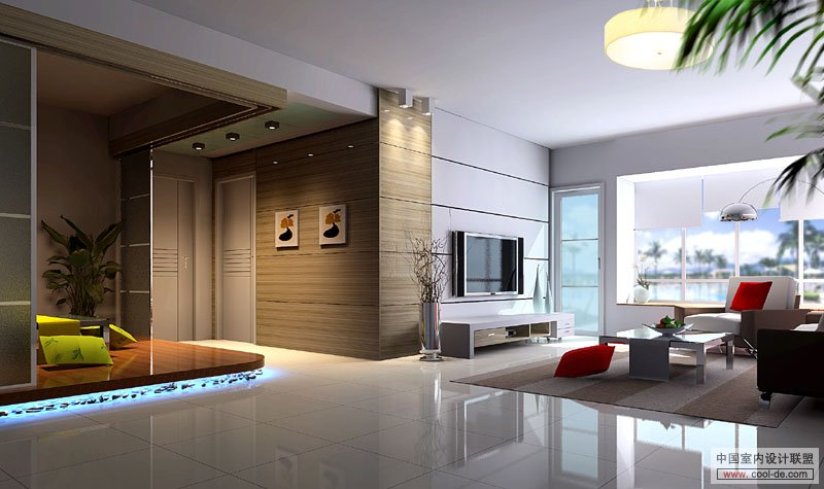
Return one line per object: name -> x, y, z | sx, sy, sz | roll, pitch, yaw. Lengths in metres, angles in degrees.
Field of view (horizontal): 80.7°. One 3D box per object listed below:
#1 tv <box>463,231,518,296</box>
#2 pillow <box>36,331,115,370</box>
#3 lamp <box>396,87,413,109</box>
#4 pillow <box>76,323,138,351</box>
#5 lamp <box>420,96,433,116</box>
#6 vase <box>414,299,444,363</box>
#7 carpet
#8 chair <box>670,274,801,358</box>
tv -> 1.396, 0.360, 8.364 | 1.828, 1.080, 0.064 | 4, -6, -38
pillow -> -3.875, 1.217, 5.530 | 0.611, 0.335, 0.146 | 8, -39, -36
lamp -> -0.052, -2.126, 7.053 | 0.266, 0.326, 0.253 | -3, 4, -30
pillow -> -4.019, 1.242, 6.539 | 0.442, 0.136, 0.409 | 2, -1, 12
lamp -> 0.221, -2.098, 7.290 | 0.168, 0.234, 0.106 | 1, 3, 15
vase -> 0.276, 1.219, 6.913 | 0.304, 0.828, 0.244 | 0, 3, -3
carpet -> 2.604, 1.559, 5.686 | 3.059, 0.193, 2.431 | 1, 2, 27
chair -> 4.971, 1.061, 7.320 | 1.567, 1.006, 1.471 | 1, -4, -40
